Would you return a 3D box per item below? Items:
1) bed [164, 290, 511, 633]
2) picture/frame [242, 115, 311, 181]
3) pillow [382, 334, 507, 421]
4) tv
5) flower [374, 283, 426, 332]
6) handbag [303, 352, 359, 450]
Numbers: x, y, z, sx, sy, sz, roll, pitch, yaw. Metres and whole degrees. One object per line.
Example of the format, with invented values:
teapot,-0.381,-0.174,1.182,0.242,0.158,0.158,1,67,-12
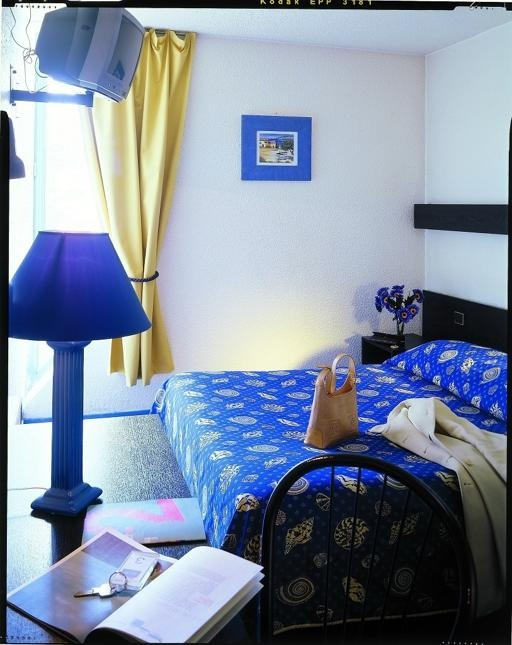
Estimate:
bed,0.297,0.367,1.804,0.997,0.648,1.104,0,11,-12
picture/frame,0.113,-1.146,3.151,0.339,0.374,0.028,-2,10,-10
pillow,0.882,0.201,2.104,0.239,0.090,0.475,-3,17,-12
tv,-0.356,-0.609,1.087,0.253,0.157,0.199,-7,10,-44
flower,0.923,-0.050,3.256,0.236,0.320,0.278,-1,-6,-16
handbag,0.274,0.286,1.765,0.083,0.323,0.205,13,17,40
